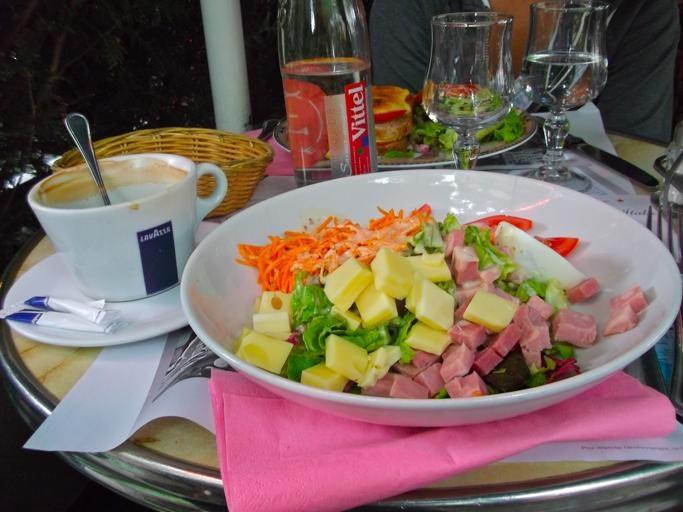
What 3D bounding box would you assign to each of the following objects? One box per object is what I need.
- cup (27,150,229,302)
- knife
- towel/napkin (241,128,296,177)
[{"bbox_3d":[-0.323,-0.050,0.868,0.290,0.175,0.245,-5,35,-10],"label":"cup"},{"bbox_3d":[0.610,-0.234,1.194,0.052,0.029,0.395,-10,26,-11],"label":"knife"},{"bbox_3d":[-0.167,-0.237,1.165,0.143,0.058,0.157,-3,36,-7],"label":"towel/napkin"}]
